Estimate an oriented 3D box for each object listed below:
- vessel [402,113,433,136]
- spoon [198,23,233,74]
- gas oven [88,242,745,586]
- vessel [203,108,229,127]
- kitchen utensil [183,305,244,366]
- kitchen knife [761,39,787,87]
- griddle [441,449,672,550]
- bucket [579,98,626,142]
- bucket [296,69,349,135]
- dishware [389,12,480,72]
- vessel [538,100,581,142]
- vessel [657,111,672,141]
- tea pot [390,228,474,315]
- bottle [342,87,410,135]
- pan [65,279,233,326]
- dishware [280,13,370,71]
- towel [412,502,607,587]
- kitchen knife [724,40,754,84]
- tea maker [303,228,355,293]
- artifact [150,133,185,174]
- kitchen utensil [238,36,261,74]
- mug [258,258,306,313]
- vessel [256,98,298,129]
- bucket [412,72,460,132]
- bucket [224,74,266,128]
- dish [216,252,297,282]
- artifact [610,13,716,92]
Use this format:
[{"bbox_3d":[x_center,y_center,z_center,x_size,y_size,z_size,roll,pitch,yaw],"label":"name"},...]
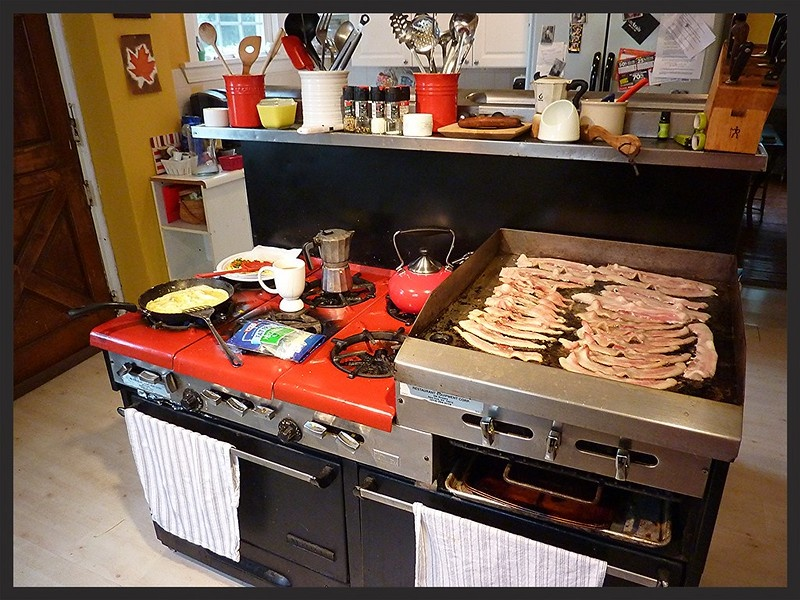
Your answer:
[{"bbox_3d":[0.070,-0.606,1.945,0.091,0.053,0.086,-5,20,-13],"label":"vessel"},{"bbox_3d":[-0.784,-1.068,2.381,0.077,0.046,0.349,-6,4,-9],"label":"spoon"},{"bbox_3d":[0.023,0.485,2.094,1.979,1.240,0.986,9,27,22],"label":"gas oven"},{"bbox_3d":[-0.760,-0.771,2.334,0.091,0.061,0.086,4,29,-2],"label":"vessel"},{"bbox_3d":[-0.598,0.119,1.817,0.107,0.034,0.345,-19,50,-33],"label":"kitchen utensil"},{"bbox_3d":[1.043,-0.661,1.564,0.042,0.108,0.192,15,29,28],"label":"kitchen knife"},{"bbox_3d":[0.437,0.548,1.550,0.456,0.047,0.259,7,18,24],"label":"griddle"},{"bbox_3d":[0.647,-0.591,1.845,0.142,0.103,0.135,0,23,0],"label":"bucket"},{"bbox_3d":[-0.286,-0.731,2.088,0.234,0.246,0.241,1,21,0],"label":"bucket"},{"bbox_3d":[0.098,-0.891,1.953,0.258,0.194,0.306,-14,28,-28],"label":"dishware"},{"bbox_3d":[0.506,-0.568,1.804,0.137,0.121,0.144,13,26,34],"label":"vessel"},{"bbox_3d":[0.859,-0.568,1.831,0.041,0.084,0.065,11,28,22],"label":"vessel"},{"bbox_3d":[0.062,-0.113,2.023,0.374,0.297,0.248,-1,28,1],"label":"tea pot"},{"bbox_3d":[-0.086,-0.686,2.030,0.242,0.157,0.213,-2,25,-5],"label":"bottle"},{"bbox_3d":[-0.849,0.015,1.992,0.448,0.073,0.260,-18,30,-39],"label":"pan"},{"bbox_3d":[-0.299,-0.951,2.082,0.277,0.193,0.253,-4,25,-8],"label":"dishware"},{"bbox_3d":[0.315,0.654,1.524,0.380,0.244,0.027,11,28,21],"label":"towel"},{"bbox_3d":[0.931,-0.660,1.567,0.050,0.138,0.035,1,29,1],"label":"kitchen knife"},{"bbox_3d":[-0.268,-0.146,2.166,0.247,0.245,0.156,-5,27,-9],"label":"tea maker"},{"bbox_3d":[-1.550,-0.987,3.765,0.108,0.242,0.255,3,25,8],"label":"artifact"},{"bbox_3d":[-0.621,-1.011,2.331,0.086,0.144,0.344,-7,25,-13],"label":"kitchen utensil"},{"bbox_3d":[-0.390,-0.068,2.089,0.232,0.203,0.142,-5,29,-7],"label":"mug"},{"bbox_3d":[-0.481,-0.713,2.164,0.119,0.083,0.140,-1,11,0],"label":"vessel"},{"bbox_3d":[0.127,-0.726,2.081,0.181,0.184,0.175,-6,17,2],"label":"bucket"},{"bbox_3d":[-0.613,-0.789,2.233,0.201,0.189,0.135,-8,27,-18],"label":"bucket"},{"bbox_3d":[-0.632,-0.162,2.371,0.210,0.034,0.238,11,25,25],"label":"dish"},{"bbox_3d":[1.802,-1.618,3.707,0.507,0.469,0.785,1,25,3],"label":"artifact"}]
